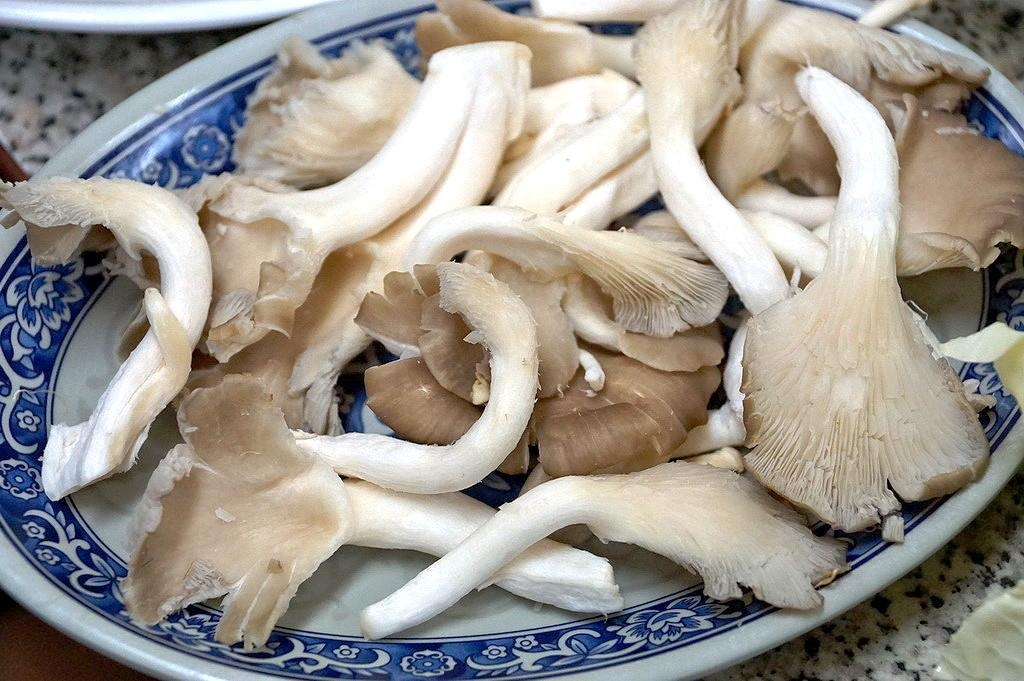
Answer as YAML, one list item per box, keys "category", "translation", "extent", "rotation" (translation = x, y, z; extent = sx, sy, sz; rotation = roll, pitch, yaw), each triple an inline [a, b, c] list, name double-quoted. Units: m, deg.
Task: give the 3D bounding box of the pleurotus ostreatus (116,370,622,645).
- category: "pleurotus ostreatus"
  translation: [-0.157, 0.234, 1.325]
  extent: [0.610, 0.147, 0.306]
  rotation: [10, 69, -3]

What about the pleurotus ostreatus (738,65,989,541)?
- category: "pleurotus ostreatus"
  translation: [0.406, -0.032, 1.352]
  extent: [0.291, 0.132, 0.498]
  rotation: [-15, 88, 8]
